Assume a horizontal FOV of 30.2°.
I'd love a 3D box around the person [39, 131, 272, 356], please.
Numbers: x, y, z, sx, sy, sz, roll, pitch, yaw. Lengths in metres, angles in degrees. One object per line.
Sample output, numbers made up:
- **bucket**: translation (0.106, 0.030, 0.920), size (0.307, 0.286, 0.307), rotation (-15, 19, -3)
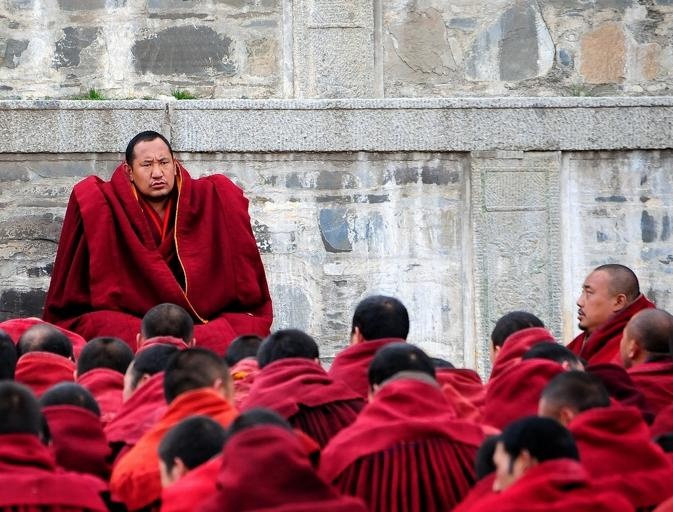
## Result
- **person**: translation (-1.120, -0.013, 7.855), size (1.472, 1.367, 0.960), rotation (-3, 12, -32)
